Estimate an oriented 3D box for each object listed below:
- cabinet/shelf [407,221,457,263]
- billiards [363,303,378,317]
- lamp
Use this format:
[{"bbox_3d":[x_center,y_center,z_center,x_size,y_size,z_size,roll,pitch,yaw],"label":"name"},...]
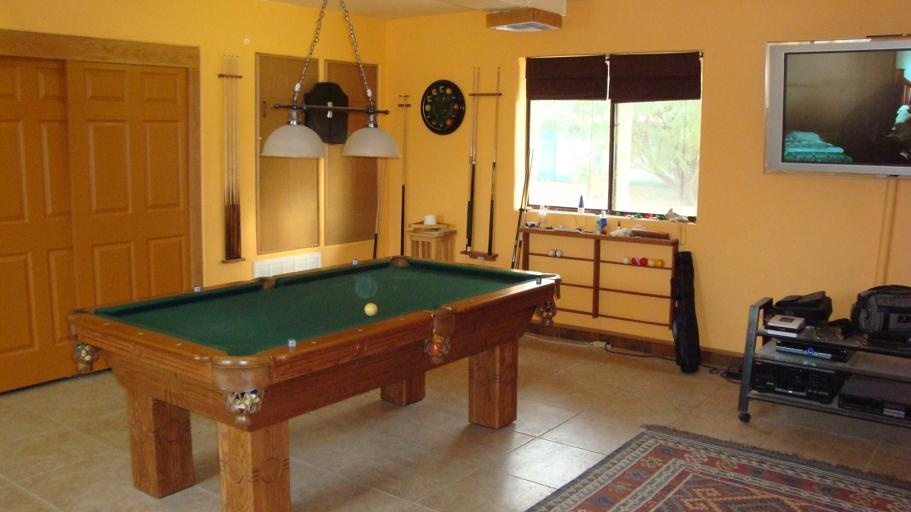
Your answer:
[{"bbox_3d":[-0.270,-0.226,9.063,0.594,0.810,0.571,-7,10,-44],"label":"cabinet/shelf"},{"bbox_3d":[-0.725,0.463,5.777,0.120,0.102,0.109,-2,5,2],"label":"billiards"},{"bbox_3d":[-1.585,-2.204,8.132,1.224,2.120,1.402,10,17,29],"label":"lamp"}]
